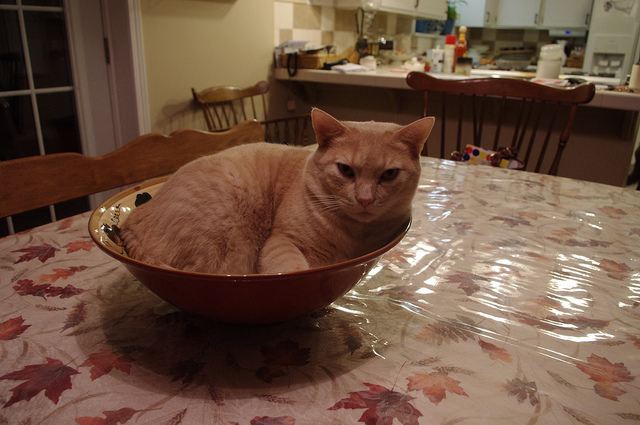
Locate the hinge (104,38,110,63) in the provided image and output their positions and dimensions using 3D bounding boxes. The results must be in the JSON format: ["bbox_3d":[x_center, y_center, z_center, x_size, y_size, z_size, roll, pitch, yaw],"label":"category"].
[{"bbox_3d":[-1.165,-0.891,2.551,0.024,0.126,0.010,-13,27,-32],"label":"hinge"}]

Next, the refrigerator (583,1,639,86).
[{"bbox_3d":[2.927,-1.768,4.712,0.380,0.710,0.641,-15,28,-35],"label":"refrigerator"}]

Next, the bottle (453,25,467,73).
[{"bbox_3d":[1.016,-1.177,3.359,0.078,0.309,0.193,8,23,14],"label":"bottle"}]

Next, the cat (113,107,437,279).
[{"bbox_3d":[-0.134,-0.040,1.146,0.766,0.332,0.545,9,15,39],"label":"cat"}]

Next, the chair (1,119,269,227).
[{"bbox_3d":[-0.600,-0.122,1.398,0.559,0.347,0.200,-18,56,-21],"label":"chair"}]
